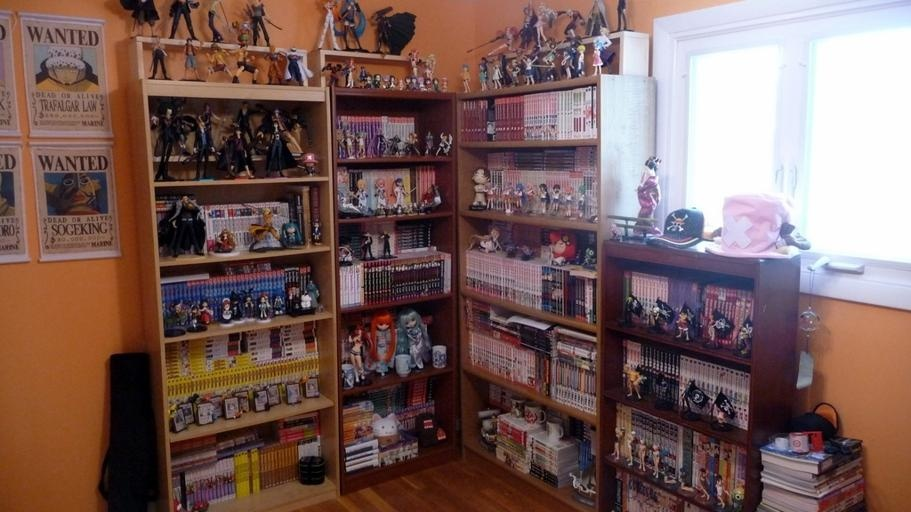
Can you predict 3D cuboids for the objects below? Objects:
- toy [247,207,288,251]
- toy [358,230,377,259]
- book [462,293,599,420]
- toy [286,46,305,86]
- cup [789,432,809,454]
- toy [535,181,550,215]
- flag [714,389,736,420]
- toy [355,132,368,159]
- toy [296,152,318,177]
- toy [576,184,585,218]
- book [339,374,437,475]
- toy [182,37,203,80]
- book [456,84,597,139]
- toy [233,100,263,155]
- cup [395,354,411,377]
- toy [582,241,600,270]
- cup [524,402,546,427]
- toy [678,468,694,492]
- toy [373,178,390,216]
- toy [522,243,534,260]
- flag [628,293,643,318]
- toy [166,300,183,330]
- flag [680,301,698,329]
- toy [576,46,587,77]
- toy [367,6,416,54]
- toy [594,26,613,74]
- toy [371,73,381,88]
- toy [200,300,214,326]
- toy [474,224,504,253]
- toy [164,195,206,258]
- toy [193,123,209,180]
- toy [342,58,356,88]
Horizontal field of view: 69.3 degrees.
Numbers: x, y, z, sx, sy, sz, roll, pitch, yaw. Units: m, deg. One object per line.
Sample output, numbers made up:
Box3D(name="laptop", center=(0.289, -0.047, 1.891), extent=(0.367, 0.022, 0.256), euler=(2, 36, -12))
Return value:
Box3D(name="toy", center=(-1.488, -0.207, 5.223), extent=(0.313, 0.324, 0.364), euler=(1, -3, 24))
Box3D(name="toy", center=(-0.723, -0.088, 5.529), extent=(0.139, 0.223, 0.084), euler=(-10, 14, -36))
Box3D(name="book", center=(0.634, 0.816, 5.306), extent=(1.378, 0.677, 0.622), euler=(11, 20, 34))
Box3D(name="toy", center=(-1.248, -1.478, 5.176), extent=(0.131, 0.271, 0.141), euler=(-4, 12, -12))
Box3D(name="cup", center=(2.227, 1.210, 4.270), extent=(0.128, 0.121, 0.097), euler=(0, 2, 23))
Box3D(name="toy", center=(0.710, -0.457, 5.247), extent=(0.108, 0.238, 0.057), euler=(3, 12, 22))
Box3D(name="flag", center=(1.828, 1.014, 4.453), extent=(0.138, 0.175, 0.070), euler=(8, 15, 39))
Box3D(name="toy", center=(-0.758, -0.915, 5.432), extent=(0.054, 0.189, 0.119), euler=(7, 14, 37))
Box3D(name="toy", center=(-1.167, -0.730, 5.309), extent=(0.183, 0.198, 0.200), euler=(0, 9, 6))
Box3D(name="toy", center=(0.967, -0.409, 5.013), extent=(0.031, 0.216, 0.079), euler=(-8, 13, -28))
Box3D(name="book", center=(-0.597, 1.447, 5.592), extent=(0.898, 0.737, 0.288), euler=(-2, -5, -33))
Box3D(name="toy", center=(-2.002, -1.491, 5.003), extent=(0.135, 0.285, 0.244), euler=(-6, 12, -21))
Box3D(name="book", center=(0.567, -1.106, 5.194), extent=(1.304, 0.406, 0.105), euler=(9, 15, 39))
Box3D(name="toy", center=(-1.589, -0.991, 5.113), extent=(0.203, 0.407, 0.137), euler=(-4, 3, -9))
Box3D(name="cup", center=(-0.442, 0.934, 5.585), extent=(0.139, 0.146, 0.166), euler=(0, 1, -21))
Box3D(name="toy", center=(1.043, 0.009, 5.068), extent=(0.132, 0.181, 0.184), euler=(1, 2, 7))
Box3D(name="cup", center=(0.666, 1.325, 5.543), extent=(0.116, 0.131, 0.184), euler=(-3, 9, -28))
Box3D(name="toy", center=(1.634, 1.583, 4.640), extent=(0.076, 0.135, 0.141), euler=(0, 7, -28))
Box3D(name="toy", center=(-0.615, -0.497, 5.504), extent=(0.113, 0.278, 0.198), euler=(-3, 11, -6))
Box3D(name="toy", center=(0.590, -0.032, 5.462), extent=(0.116, 0.112, 0.104), euler=(-15, 19, -42))
Box3D(name="flag", center=(1.303, 0.359, 4.760), extent=(0.106, 0.142, 0.042), euler=(-30, -3, -11))
Box3D(name="toy", center=(-2.117, 0.449, 4.997), extent=(0.116, 0.190, 0.050), euler=(-7, 12, -26))
Box3D(name="flag", center=(1.632, 0.410, 4.543), extent=(0.127, 0.172, 0.062), euler=(20, -10, -11))
Box3D(name="toy", center=(0.978, -1.503, 5.099), extent=(0.070, 0.233, 0.269), euler=(1, 12, 10))
Box3D(name="toy", center=(-0.552, -1.913, 5.568), extent=(0.460, 0.448, 0.259), euler=(10, 8, 42))
Box3D(name="toy", center=(1.119, -1.545, 4.930), extent=(0.157, 0.320, 0.143), euler=(14, 17, 33))
Box3D(name="toy", center=(-0.646, -1.434, 5.414), extent=(0.067, 0.111, 0.100), euler=(-3, 12, -10))
Box3D(name="toy", center=(-1.912, 0.435, 5.067), extent=(0.077, 0.184, 0.082), euler=(4, 12, 24))
Box3D(name="toy", center=(0.297, -0.169, 5.695), extent=(0.187, 0.248, 0.254), euler=(-14, 27, -42))
Box3D(name="toy", center=(-2.027, -0.225, 4.965), extent=(0.257, 0.437, 0.180), euler=(-6, 12, -22))
Box3D(name="toy", center=(-1.904, -0.803, 4.976), extent=(0.149, 0.470, 0.129), euler=(22, 23, 38))
Box3D(name="toy", center=(-0.863, -1.497, 5.398), extent=(0.108, 0.239, 0.408), euler=(-3, 12, -9))
